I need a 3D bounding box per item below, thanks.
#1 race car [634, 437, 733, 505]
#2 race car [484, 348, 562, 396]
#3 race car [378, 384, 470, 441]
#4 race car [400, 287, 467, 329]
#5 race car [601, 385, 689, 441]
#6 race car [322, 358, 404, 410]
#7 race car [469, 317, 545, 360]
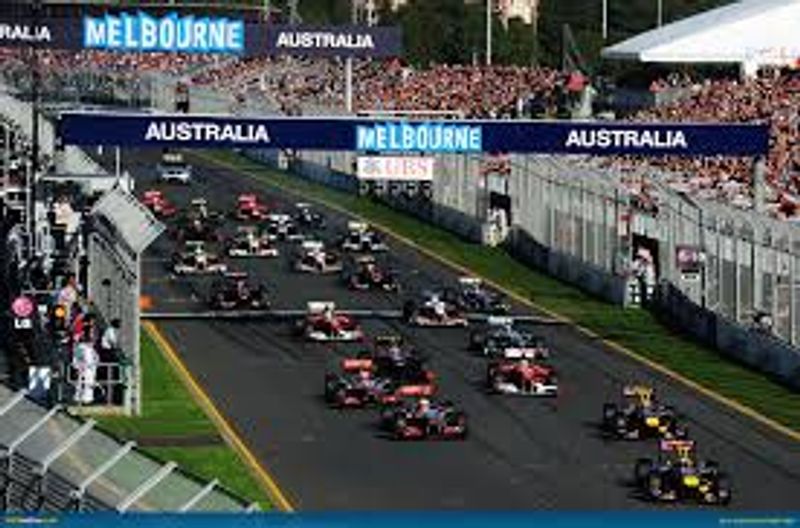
[{"bbox_3d":[8.888,6.413,59.240,2.670,1.399,4.036,1,2,5],"label":"race car"},{"bbox_3d":[4.252,3.772,65.516,2.547,1.470,0.809,-1,12,2],"label":"race car"},{"bbox_3d":[0.781,4.897,62.711,2.488,1.106,3.936,-1,4,-6],"label":"race car"},{"bbox_3d":[1.391,1.589,73.654,2.289,1.106,3.624,2,3,-5],"label":"race car"},{"bbox_3d":[8.133,4.749,62.676,2.838,1.642,2.519,0,12,8],"label":"race car"},{"bbox_3d":[-1.357,4.011,64.261,1.562,0.853,2.384,0,1,-10],"label":"race car"},{"bbox_3d":[3.925,2.604,69.487,2.239,1.200,3.875,2,3,-13],"label":"race car"}]
